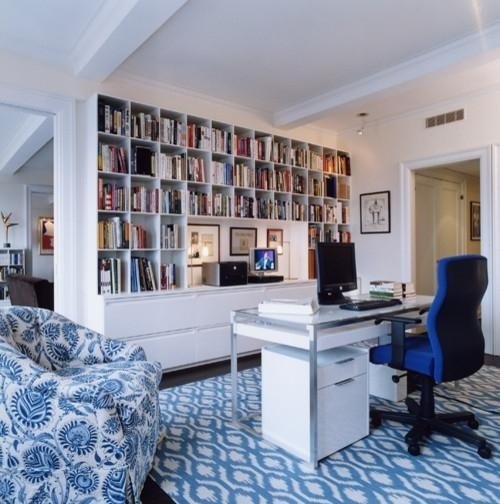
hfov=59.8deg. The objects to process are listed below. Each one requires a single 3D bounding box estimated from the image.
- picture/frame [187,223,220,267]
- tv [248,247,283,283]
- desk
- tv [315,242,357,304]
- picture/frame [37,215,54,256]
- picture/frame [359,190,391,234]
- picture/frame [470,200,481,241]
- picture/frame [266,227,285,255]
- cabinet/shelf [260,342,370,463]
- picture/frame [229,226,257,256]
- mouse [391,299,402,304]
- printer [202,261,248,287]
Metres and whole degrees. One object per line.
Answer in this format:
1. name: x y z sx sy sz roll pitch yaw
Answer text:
1. picture/frame: -0.524 -0.069 4.773 0.024 0.456 0.649 0 0 -41
2. tv: 0.149 0.136 4.918 0.444 0.388 0.240 -1 8 -32
3. desk: 0.467 0.473 2.887 1.510 0.895 0.832 -2 1 -42
4. tv: 0.644 0.158 3.293 0.464 0.435 0.152 4 -8 -43
5. picture/frame: -4.179 -0.318 8.839 0.255 0.759 0.334 -2 2 -29
6. picture/frame: 1.613 -0.516 5.574 0.033 0.761 0.612 4 -4 -41
7. picture/frame: 3.682 -0.501 7.085 0.037 0.704 0.748 -1 1 39
8. picture/frame: 0.291 -0.133 5.332 0.033 0.408 0.359 -4 -5 43
9. cabinet/shelf: 0.385 0.900 2.734 0.488 0.526 0.630 -3 -6 40
10. picture/frame: -0.107 -0.121 5.041 0.374 0.297 0.029 0 0 -43
11. mouse: 1.036 0.355 3.097 0.069 0.017 0.041 -2 3 -44
12. printer: -0.323 0.210 4.563 0.305 0.183 0.313 0 -1 -42
